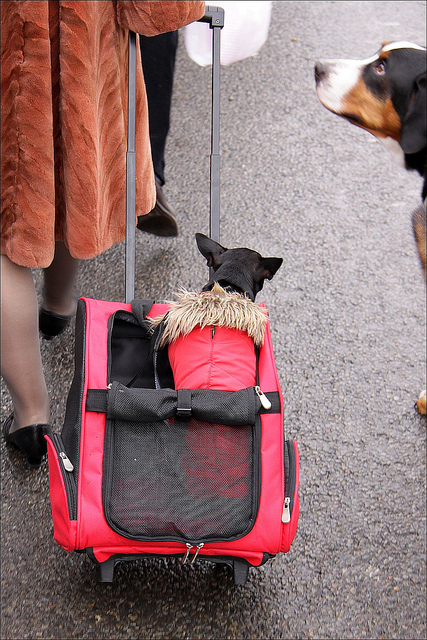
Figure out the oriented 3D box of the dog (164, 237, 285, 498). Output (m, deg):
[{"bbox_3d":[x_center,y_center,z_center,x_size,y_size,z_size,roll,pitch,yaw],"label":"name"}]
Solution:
[{"bbox_3d":[0.018,0.069,1.080,0.135,0.219,0.434,3,62,-3],"label":"dog"}]
